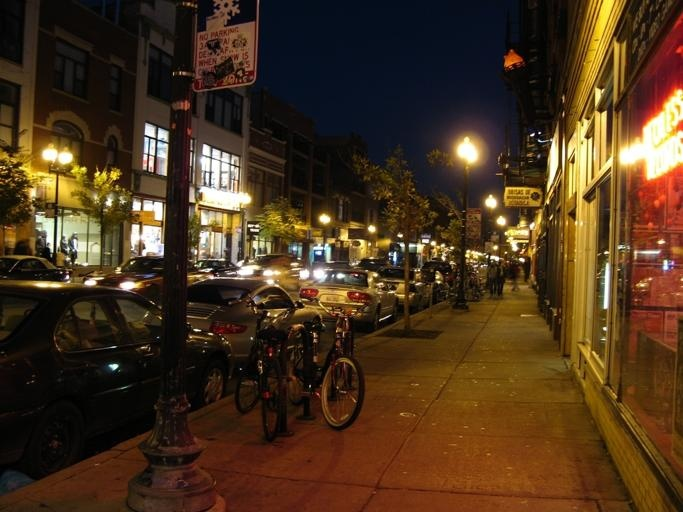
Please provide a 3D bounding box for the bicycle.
[{"bbox_3d":[-0.512,1.464,7.533,0.964,1.354,2.182,1,-1,27],"label":"bicycle"}]
